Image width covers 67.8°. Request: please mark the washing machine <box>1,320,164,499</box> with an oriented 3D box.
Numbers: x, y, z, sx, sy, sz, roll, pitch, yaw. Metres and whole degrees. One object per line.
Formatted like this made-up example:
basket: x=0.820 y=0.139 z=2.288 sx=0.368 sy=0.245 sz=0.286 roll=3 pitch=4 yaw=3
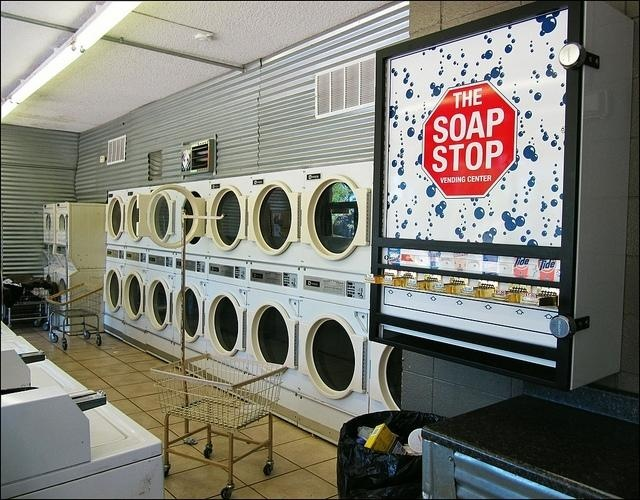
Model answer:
washing machine: x=-1.485 y=0.988 z=3.082 sx=0.588 sy=0.796 sz=1.122 roll=-4 pitch=9 yaw=-39
